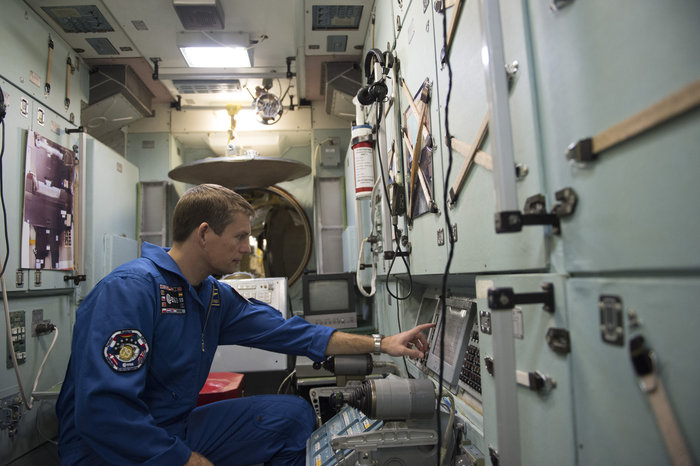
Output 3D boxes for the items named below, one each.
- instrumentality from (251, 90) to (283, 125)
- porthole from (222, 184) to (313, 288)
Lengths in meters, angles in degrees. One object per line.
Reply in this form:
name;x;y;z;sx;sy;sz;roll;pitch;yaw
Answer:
instrumentality;-0.828;-1.280;4.967;0.279;0.330;0.320;-1;-8;-11
porthole;-1.083;-0.119;7.291;0.289;1.303;1.261;-5;-52;34
